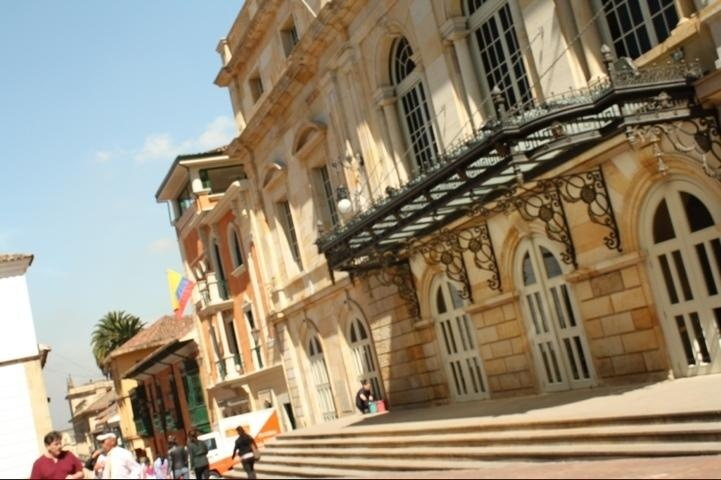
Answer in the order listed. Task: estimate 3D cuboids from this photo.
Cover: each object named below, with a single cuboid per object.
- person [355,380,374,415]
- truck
[{"bbox_3d":[0.140,5.857,24.604,0.689,1.278,1.118,-9,-17,-3],"label":"person"},{"bbox_3d":[-5.058,7.945,26.776,3.756,2.347,2.145,-16,-20,-7],"label":"truck"}]
